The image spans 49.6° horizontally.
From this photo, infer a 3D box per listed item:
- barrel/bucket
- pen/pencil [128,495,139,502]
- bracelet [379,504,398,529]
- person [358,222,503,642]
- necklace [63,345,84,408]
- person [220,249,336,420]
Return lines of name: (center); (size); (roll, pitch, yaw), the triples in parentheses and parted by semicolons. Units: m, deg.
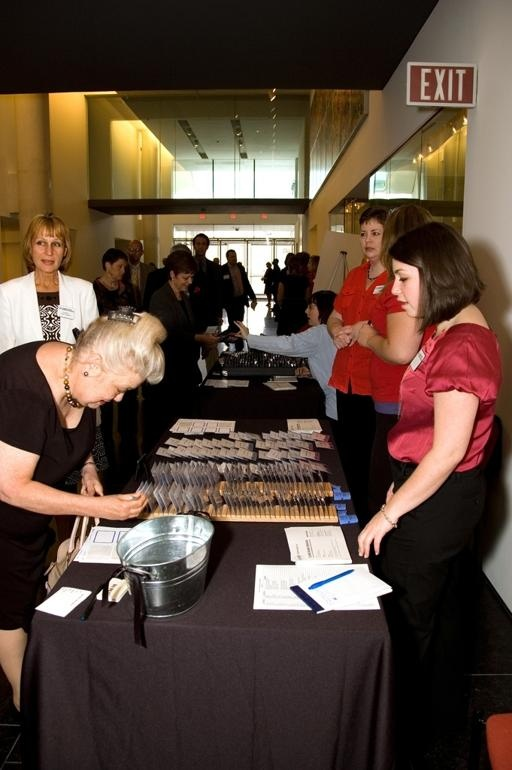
barrel/bucket: (-0.180, 0.372, 1.108); (0.186, 0.155, 0.221); (-1, 10, -5)
pen/pencil: (-0.304, 0.282, 1.377); (0.027, 0.015, 0.017); (-4, 55, 2)
bracelet: (0.303, 0.301, 1.263); (0.021, 0.062, 0.047); (-34, -9, 19)
person: (0.433, 0.176, 1.368); (0.283, 1.115, 0.402); (4, 10, 24)
necklace: (-0.460, -0.009, 1.367); (0.017, 0.115, 0.091); (-5, 3, -8)
person: (0.219, -0.292, 3.803); (0.798, 1.329, 0.590); (-1, 14, 9)
